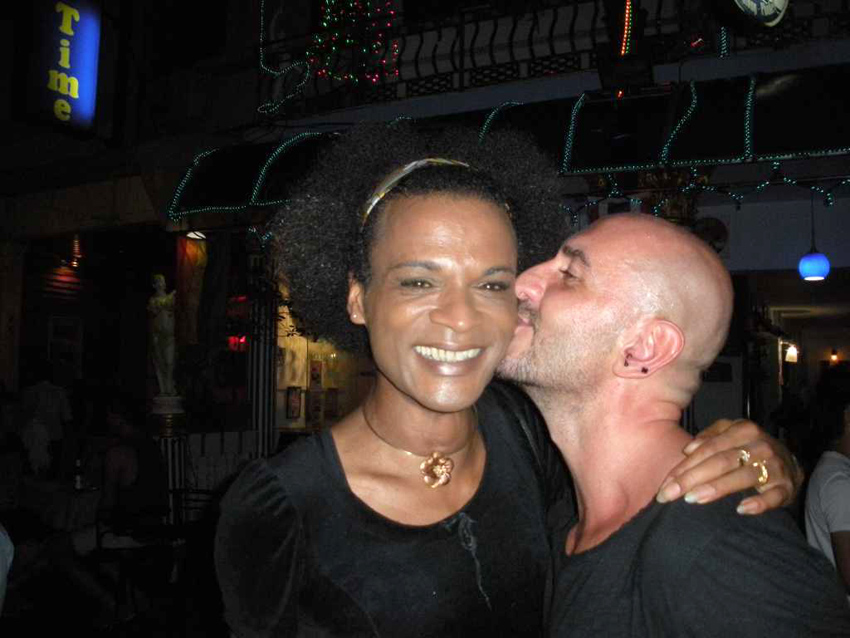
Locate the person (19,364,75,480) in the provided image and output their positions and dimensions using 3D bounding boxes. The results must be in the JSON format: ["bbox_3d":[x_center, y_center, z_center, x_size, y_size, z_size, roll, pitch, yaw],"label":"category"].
[{"bbox_3d":[-5.274,1.505,11.241,0.634,1.524,0.626,3,0,-26],"label":"person"}]

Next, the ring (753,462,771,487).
[{"bbox_3d":[2.121,0.966,5.157,0.117,0.118,0.027,38,-37,-29],"label":"ring"}]
